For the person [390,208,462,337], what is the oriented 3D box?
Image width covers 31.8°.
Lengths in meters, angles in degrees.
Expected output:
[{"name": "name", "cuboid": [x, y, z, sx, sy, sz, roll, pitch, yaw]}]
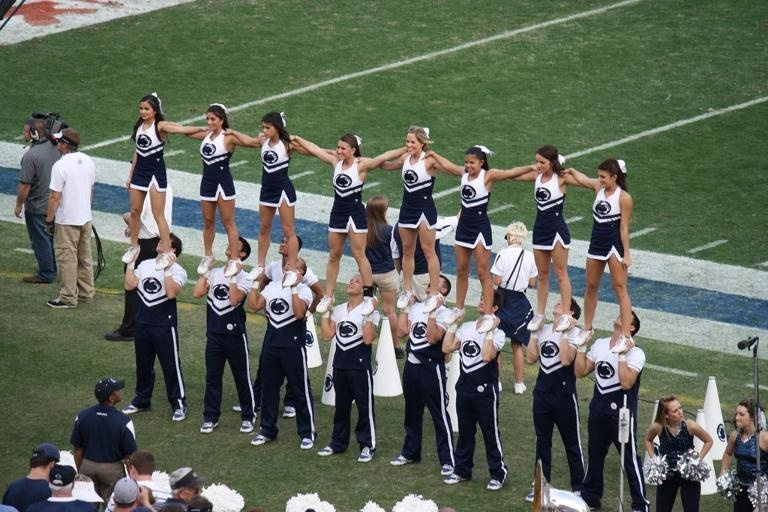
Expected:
[{"name": "person", "cuboid": [0.636, 0.270, 23.864, 1.272, 2.010, 0.554, 6, -15, -30]}]

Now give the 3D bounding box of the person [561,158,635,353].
[{"name": "person", "cuboid": [3.390, -0.054, 21.468, 0.784, 2.983, 1.276, -4, 12, -27]}]

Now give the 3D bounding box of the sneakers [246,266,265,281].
[{"name": "sneakers", "cuboid": [-2.175, 0.255, 22.837, 0.135, 0.159, 0.383, 21, 53, 44]}]

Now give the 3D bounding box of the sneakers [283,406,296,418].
[{"name": "sneakers", "cuboid": [-1.651, 2.716, 23.281, 0.144, 0.129, 0.308, 0, 1, 2]}]

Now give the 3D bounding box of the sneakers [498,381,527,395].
[{"name": "sneakers", "cuboid": [2.138, 2.334, 24.068, 0.272, 0.287, 0.687, 0, -2, -21]}]

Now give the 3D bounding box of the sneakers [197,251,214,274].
[{"name": "sneakers", "cuboid": [-3.007, 0.140, 23.003, 0.170, 0.424, 0.178, 14, -25, 13]}]

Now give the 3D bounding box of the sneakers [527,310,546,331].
[{"name": "sneakers", "cuboid": [2.340, 1.077, 21.854, 0.170, 0.158, 0.371, 16, 67, 34]}]

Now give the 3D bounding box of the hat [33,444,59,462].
[{"name": "hat", "cuboid": [-4.863, 2.905, 19.820, 0.238, 0.184, 0.330, 9, 11, 34]}]

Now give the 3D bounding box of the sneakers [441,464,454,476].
[{"name": "sneakers", "cuboid": [0.934, 3.506, 21.887, 0.128, 0.091, 0.218, -1, 6, 8]}]

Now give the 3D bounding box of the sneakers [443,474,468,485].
[{"name": "sneakers", "cuboid": [1.057, 3.627, 21.760, 0.371, 0.144, 0.133, 1, 9, -15]}]

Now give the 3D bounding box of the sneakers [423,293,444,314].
[{"name": "sneakers", "cuboid": [0.749, 0.781, 22.131, 0.156, 0.185, 0.447, -3, 30, 43]}]

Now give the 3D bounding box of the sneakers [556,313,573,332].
[{"name": "sneakers", "cuboid": [2.728, 1.070, 21.541, 0.146, 0.168, 0.402, -20, 18, 46]}]

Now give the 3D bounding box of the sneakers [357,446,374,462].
[{"name": "sneakers", "cuboid": [-0.353, 3.273, 22.131, 0.266, 0.222, 0.193, 1, 11, -3]}]

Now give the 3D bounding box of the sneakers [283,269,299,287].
[{"name": "sneakers", "cuboid": [-1.549, 0.367, 22.324, 0.187, 0.126, 0.297, 0, 49, 10]}]

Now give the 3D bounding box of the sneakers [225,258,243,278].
[{"name": "sneakers", "cuboid": [-2.509, 0.176, 22.719, 0.156, 0.182, 0.420, -1, 14, 6]}]

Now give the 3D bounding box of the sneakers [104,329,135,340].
[{"name": "sneakers", "cuboid": [-4.738, 1.459, 24.615, 0.490, 0.222, 0.207, 4, 6, -7]}]

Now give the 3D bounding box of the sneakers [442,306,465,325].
[{"name": "sneakers", "cuboid": [1.055, 0.990, 22.111, 0.157, 0.182, 0.437, 26, 35, 28]}]

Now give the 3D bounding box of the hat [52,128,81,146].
[{"name": "hat", "cuboid": [-5.882, -2.296, 25.436, 0.514, 0.254, 0.368, 22, 23, 14]}]

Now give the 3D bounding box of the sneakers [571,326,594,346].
[{"name": "sneakers", "cuboid": [3.040, 1.289, 21.599, 0.156, 0.165, 0.425, -6, 33, 47]}]

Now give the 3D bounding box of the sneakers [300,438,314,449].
[{"name": "sneakers", "cuboid": [-1.299, 3.135, 22.392, 0.218, 0.153, 0.154, 1, 11, -5]}]

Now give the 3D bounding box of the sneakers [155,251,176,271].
[{"name": "sneakers", "cuboid": [-3.668, 0.071, 22.853, 0.169, 0.185, 0.434, -4, 40, 39]}]

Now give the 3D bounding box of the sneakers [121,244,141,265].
[{"name": "sneakers", "cuboid": [-4.255, -0.048, 23.042, 0.173, 0.167, 0.395, 14, 30, -2]}]

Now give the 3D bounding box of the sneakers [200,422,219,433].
[{"name": "sneakers", "cuboid": [-2.905, 2.888, 22.673, 0.305, 0.160, 0.257, -1, 11, -14]}]

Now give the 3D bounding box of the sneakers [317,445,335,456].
[{"name": "sneakers", "cuboid": [-0.996, 3.233, 22.240, 0.284, 0.124, 0.133, -3, 12, -19]}]

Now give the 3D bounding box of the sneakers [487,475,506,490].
[{"name": "sneakers", "cuboid": [1.687, 3.686, 21.688, 0.136, 0.122, 0.321, 2, 7, 29]}]

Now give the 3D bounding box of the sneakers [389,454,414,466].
[{"name": "sneakers", "cuboid": [0.219, 3.368, 22.078, 0.342, 0.130, 0.143, 1, 7, -13]}]

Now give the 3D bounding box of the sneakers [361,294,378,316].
[{"name": "sneakers", "cuboid": [-0.296, 0.799, 22.262, 0.145, 0.171, 0.401, -2, 42, 21]}]

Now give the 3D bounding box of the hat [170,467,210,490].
[{"name": "hat", "cuboid": [-2.858, 3.287, 19.744, 0.437, 0.167, 0.298, -1, 9, -6]}]

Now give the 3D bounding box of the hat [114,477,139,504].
[{"name": "hat", "cuboid": [-3.608, 3.383, 19.209, 0.263, 0.223, 0.388, 4, 33, -7]}]

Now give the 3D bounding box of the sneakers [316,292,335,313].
[{"name": "sneakers", "cuboid": [-1.021, 0.806, 22.500, 0.147, 0.168, 0.402, 17, 48, 19]}]

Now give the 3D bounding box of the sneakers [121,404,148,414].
[{"name": "sneakers", "cuboid": [-4.186, 2.636, 23.057, 0.419, 0.185, 0.163, 4, 12, -17]}]

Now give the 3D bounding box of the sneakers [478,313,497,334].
[{"name": "sneakers", "cuboid": [1.548, 1.104, 21.751, 0.177, 0.157, 0.411, 38, 40, 1]}]
